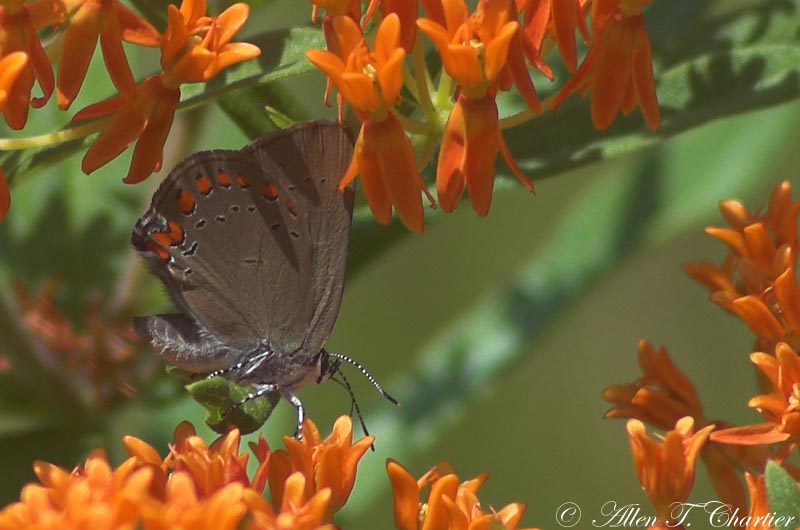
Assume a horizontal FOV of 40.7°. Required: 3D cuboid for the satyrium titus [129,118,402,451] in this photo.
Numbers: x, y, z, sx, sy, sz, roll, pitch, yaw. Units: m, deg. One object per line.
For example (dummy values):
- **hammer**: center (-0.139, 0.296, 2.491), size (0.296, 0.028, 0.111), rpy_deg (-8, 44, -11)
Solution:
- **satyrium titus**: center (-0.134, 0.011, 1.200), size (0.291, 0.284, 0.325), rpy_deg (22, -8, -6)
